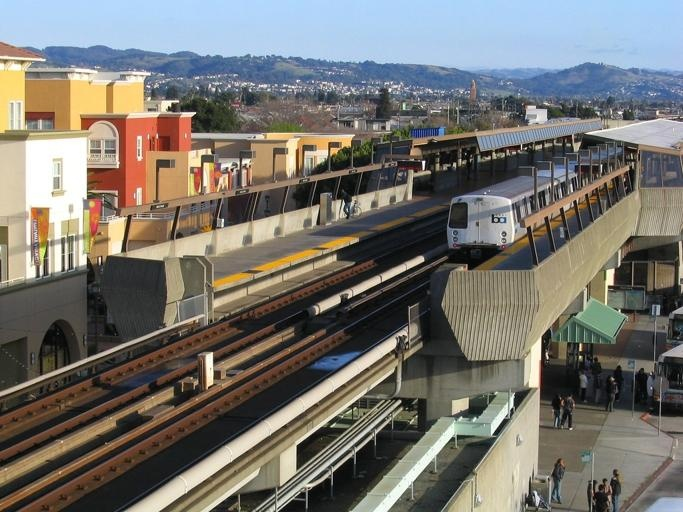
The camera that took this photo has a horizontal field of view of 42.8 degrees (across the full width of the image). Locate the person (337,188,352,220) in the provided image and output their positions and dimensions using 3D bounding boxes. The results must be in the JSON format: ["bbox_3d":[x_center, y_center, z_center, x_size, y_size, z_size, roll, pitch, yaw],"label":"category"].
[{"bbox_3d":[0.219,-2.813,49.407,0.587,1.286,1.427,-1,13,-1],"label":"person"}]

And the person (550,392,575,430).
[{"bbox_3d":[9.517,6.828,37.823,1.233,1.806,0.666,3,7,21],"label":"person"}]

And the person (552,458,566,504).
[{"bbox_3d":[7.673,7.942,31.217,0.387,1.767,0.974,2,13,13],"label":"person"}]

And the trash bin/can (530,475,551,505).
[{"bbox_3d":[7.097,8.333,31.314,0.718,1.124,1.193,0,2,13],"label":"trash bin/can"}]
